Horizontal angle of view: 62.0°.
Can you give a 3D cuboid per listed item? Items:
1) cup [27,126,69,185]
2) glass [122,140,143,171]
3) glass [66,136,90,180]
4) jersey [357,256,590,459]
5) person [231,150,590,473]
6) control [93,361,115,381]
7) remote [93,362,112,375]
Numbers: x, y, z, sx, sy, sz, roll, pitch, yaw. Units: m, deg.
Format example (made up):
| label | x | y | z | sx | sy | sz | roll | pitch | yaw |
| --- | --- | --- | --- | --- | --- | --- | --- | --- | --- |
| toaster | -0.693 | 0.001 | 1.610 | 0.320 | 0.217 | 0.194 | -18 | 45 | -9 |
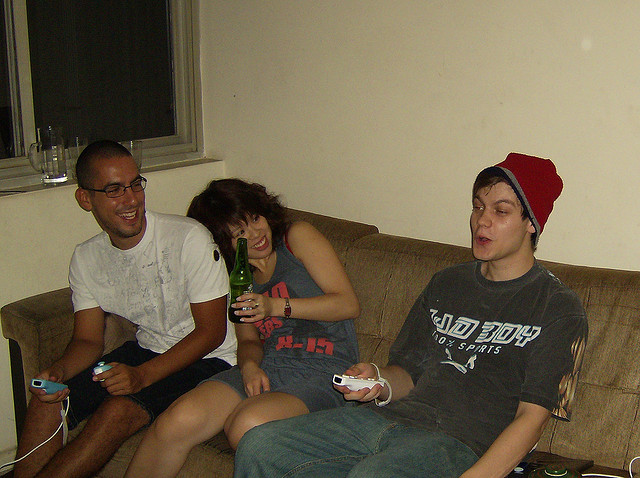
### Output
| label | x | y | z | sx | sy | sz | roll | pitch | yaw |
| --- | --- | --- | --- | --- | --- | --- | --- | --- | --- |
| cup | -1.425 | -0.441 | 2.750 | 0.201 | 0.283 | 0.198 | -2 | 16 | 0 |
| glass | -1.014 | -0.440 | 2.873 | 0.094 | 0.178 | 0.327 | -4 | 20 | -20 |
| glass | -1.294 | -0.447 | 2.849 | 0.115 | 0.208 | 0.364 | -5 | 20 | -23 |
| jersey | 0.536 | 0.398 | 1.898 | 0.446 | 0.619 | 0.791 | 19 | -11 | -30 |
| person | 0.409 | 0.249 | 1.715 | 0.955 | 0.985 | 0.688 | 8 | 19 | 16 |
| control | -0.785 | 0.486 | 1.946 | 0.042 | 0.045 | 0.081 | -6 | -5 | 15 |
| remote | -0.788 | 0.461 | 1.906 | 0.059 | 0.028 | 0.048 | 18 | 24 | 37 |
